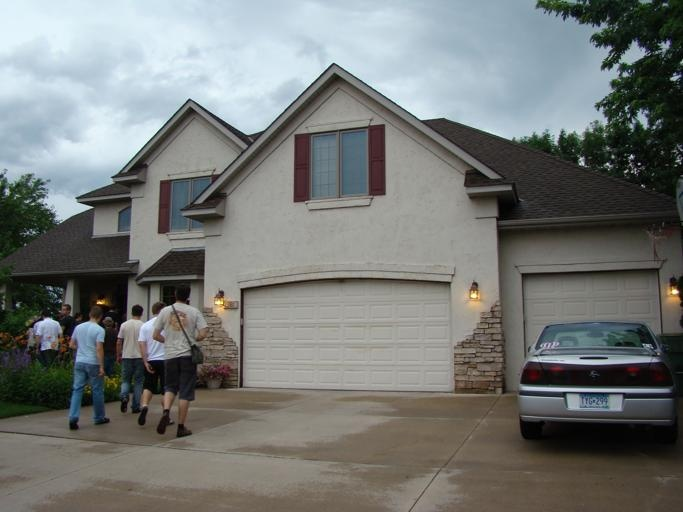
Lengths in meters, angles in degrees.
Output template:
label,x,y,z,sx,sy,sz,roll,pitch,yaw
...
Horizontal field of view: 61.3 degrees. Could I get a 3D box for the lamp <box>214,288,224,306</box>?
label,x,y,z,sx,sy,sz,roll,pitch,yaw
lamp,-3.271,1.107,15.364,0.306,0.442,0.167,-1,-2,6

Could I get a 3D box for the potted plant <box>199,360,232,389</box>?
label,x,y,z,sx,sy,sz,roll,pitch,yaw
potted plant,-3.322,3.194,15.179,0.787,0.568,0.684,2,-17,-8

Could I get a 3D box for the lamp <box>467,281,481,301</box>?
label,x,y,z,sx,sy,sz,roll,pitch,yaw
lamp,3.080,0.810,13.374,0.287,0.449,0.147,-1,-2,8

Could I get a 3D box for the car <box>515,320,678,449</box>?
label,x,y,z,sx,sy,sz,roll,pitch,yaw
car,3.455,1.705,7.834,1.391,1.072,2.488,-2,-1,16

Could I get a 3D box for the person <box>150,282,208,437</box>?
label,x,y,z,sx,sy,sz,roll,pitch,yaw
person,-2.688,1.713,9.591,0.813,2.430,0.963,0,-2,-19

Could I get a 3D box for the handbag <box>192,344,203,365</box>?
label,x,y,z,sx,sy,sz,roll,pitch,yaw
handbag,-2.384,1.618,9.456,0.169,0.343,0.283,0,-3,-15

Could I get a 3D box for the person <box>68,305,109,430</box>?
label,x,y,z,sx,sy,sz,roll,pitch,yaw
person,-4.508,1.956,10.283,0.652,2.071,0.868,0,-2,-22
